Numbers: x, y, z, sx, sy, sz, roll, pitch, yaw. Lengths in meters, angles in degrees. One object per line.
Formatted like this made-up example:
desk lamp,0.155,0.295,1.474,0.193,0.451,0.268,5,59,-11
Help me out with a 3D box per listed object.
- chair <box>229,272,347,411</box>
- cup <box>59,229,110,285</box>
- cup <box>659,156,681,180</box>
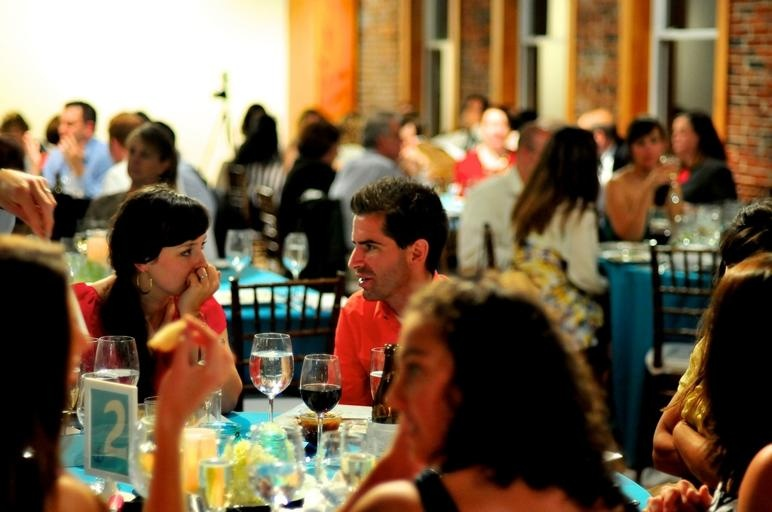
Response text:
chair,-0.408,0.358,3.402,0.404,0.778,0.459,-2,32,-8
cup,-1.317,0.007,3.626,0.225,0.292,0.238,-1,-3,0
cup,1.801,-0.563,5.242,0.111,0.163,0.088,-10,-5,-21
